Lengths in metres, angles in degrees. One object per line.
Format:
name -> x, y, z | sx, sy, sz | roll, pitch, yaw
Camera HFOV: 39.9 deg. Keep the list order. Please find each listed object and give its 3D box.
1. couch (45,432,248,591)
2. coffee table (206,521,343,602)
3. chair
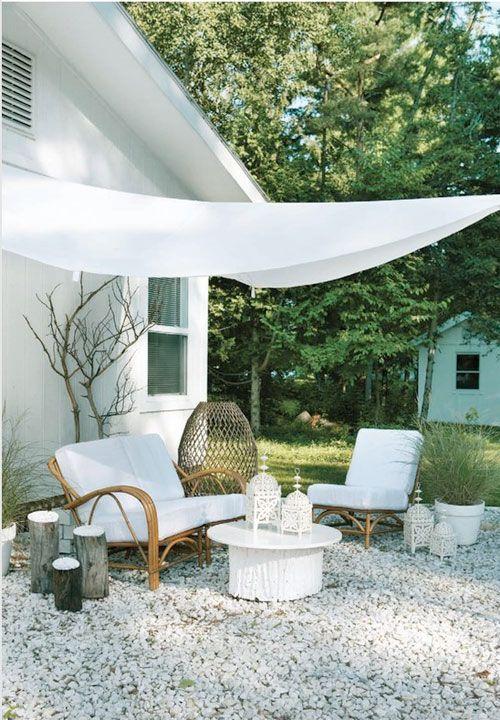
couch -> -0.726, 1.063, 5.231 | 1.137, 0.860, 1.507 | 4, -1, 19
coffee table -> 0.150, 1.303, 4.413 | 0.848, 0.473, 0.611 | 1, -1, -3
chair -> 1.013, 1.129, 6.139 | 1.019, 0.927, 0.787 | 3, -3, -36
